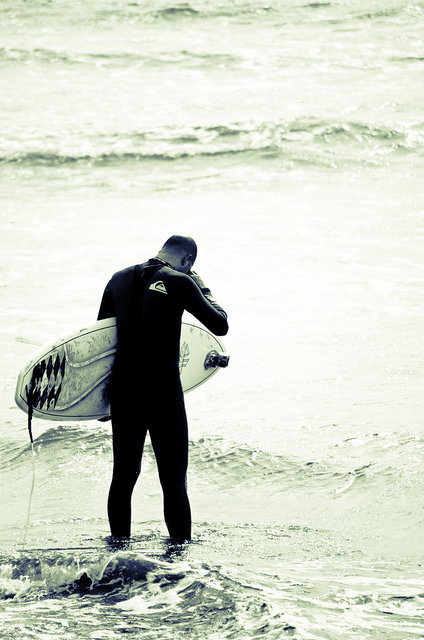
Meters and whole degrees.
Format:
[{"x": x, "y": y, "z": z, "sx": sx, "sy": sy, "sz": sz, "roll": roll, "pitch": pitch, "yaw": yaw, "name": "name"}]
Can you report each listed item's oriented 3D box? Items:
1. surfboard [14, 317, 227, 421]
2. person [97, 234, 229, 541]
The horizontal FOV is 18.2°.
[{"x": -0.778, "y": 0.324, "z": 10.865, "sx": 2.160, "sy": 0.860, "sz": 0.338, "roll": -9, "pitch": 18, "yaw": -40, "name": "surfboard"}, {"x": -0.435, "y": 0.543, "z": 10.379, "sx": 0.930, "sy": 2.396, "sz": 0.379, "roll": 0, "pitch": 6, "yaw": -5, "name": "person"}]
